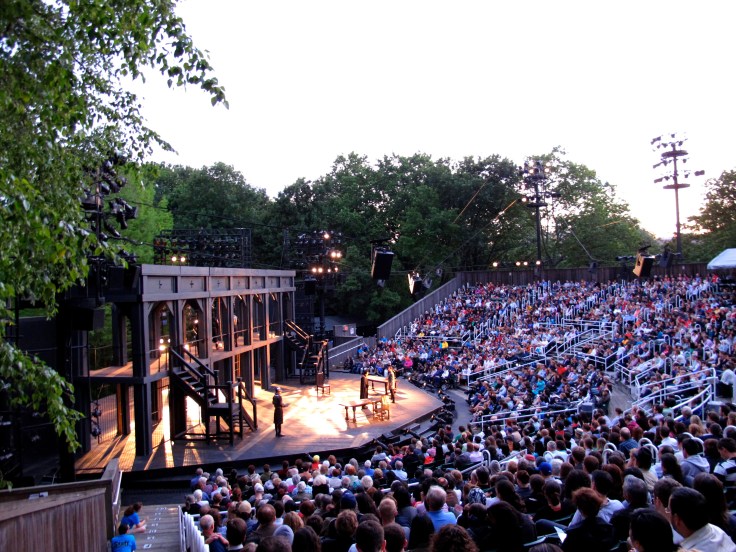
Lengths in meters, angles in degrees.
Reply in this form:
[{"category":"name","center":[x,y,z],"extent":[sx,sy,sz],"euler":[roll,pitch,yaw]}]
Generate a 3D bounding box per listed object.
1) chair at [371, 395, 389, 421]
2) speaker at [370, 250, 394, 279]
[{"category":"chair","center":[0.441,4.859,26.120],"extent":[0.627,1.201,0.895],"euler":[1,-3,8]},{"category":"speaker","center":[0.420,-0.474,25.502],"extent":[0.559,0.360,1.147],"euler":[1,-48,-12]}]
